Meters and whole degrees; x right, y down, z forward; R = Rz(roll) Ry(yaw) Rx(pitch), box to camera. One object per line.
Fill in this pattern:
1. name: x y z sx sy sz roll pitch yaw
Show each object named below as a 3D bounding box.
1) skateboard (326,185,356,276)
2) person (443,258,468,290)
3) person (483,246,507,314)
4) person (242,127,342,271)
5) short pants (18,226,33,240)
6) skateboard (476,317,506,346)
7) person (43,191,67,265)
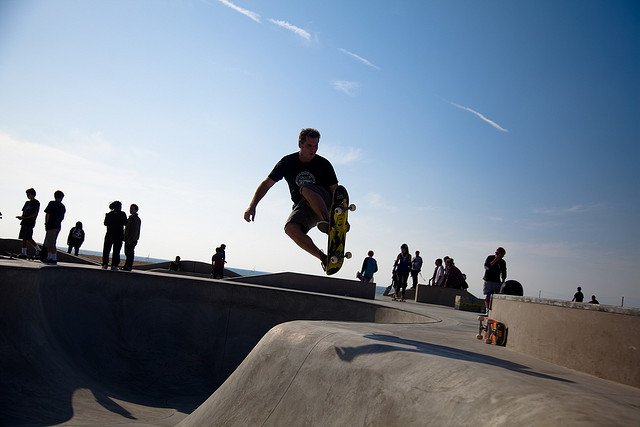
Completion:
1. skateboard: 0.266 0.224 5.224 0.302 1.272 0.179 8 -11 -28
2. person: 4.269 1.933 12.955 0.609 1.082 1.590 -3 -4 24
3. person: 3.545 1.349 8.197 0.413 1.275 0.725 -3 -3 21
4. person: -0.314 -0.126 5.609 1.308 1.823 0.966 -15 -12 18
5. short pants: -6.863 0.458 9.495 0.224 0.306 0.220 0 -4 -32
6. skateboard: 1.678 1.151 3.998 0.368 0.207 0.085 17 -16 -17
7. person: -5.408 0.286 8.278 0.348 1.485 1.655 0 -4 -33
